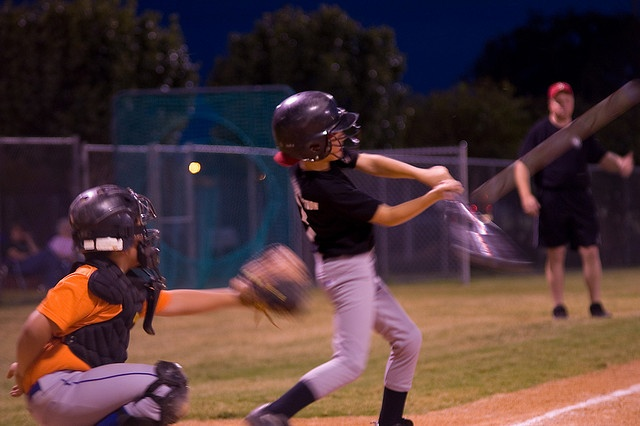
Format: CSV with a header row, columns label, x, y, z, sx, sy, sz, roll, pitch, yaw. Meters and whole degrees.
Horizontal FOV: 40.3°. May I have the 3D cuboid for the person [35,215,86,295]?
label,x,y,z,sx,sy,sz,roll,pitch,yaw
person,-3.595,0.604,12.000,0.887,1.270,0.463,1,-7,2

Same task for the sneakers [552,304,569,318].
label,x,y,z,sx,sy,sz,roll,pitch,yaw
sneakers,2.258,0.923,8.194,0.070,0.075,0.179,-1,-21,-1

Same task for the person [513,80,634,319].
label,x,y,z,sx,sy,sz,roll,pitch,yaw
person,2.376,-0.129,8.280,1.015,2.214,0.450,-2,-1,9

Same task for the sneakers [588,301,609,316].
label,x,y,z,sx,sy,sz,roll,pitch,yaw
sneakers,2.610,0.898,8.148,0.171,0.140,0.075,-2,-2,15
